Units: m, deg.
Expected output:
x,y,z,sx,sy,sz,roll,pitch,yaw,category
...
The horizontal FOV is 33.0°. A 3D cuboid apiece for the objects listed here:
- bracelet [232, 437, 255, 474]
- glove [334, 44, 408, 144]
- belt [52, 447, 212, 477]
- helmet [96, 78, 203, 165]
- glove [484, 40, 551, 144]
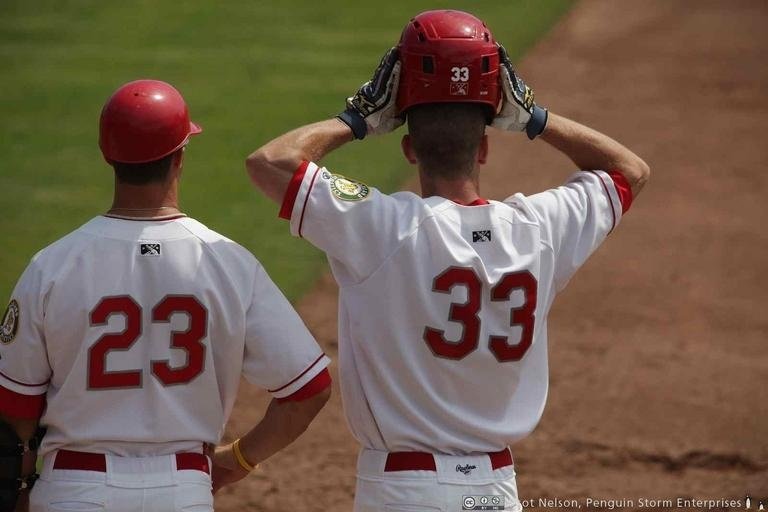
x,y,z,sx,sy,sz,roll,pitch,yaw,category
-1.006,1.407,9.219,0.076,0.222,0.189,-33,29,-7,bracelet
-0.099,-1.170,9.253,0.305,0.613,0.549,-5,21,-41,glove
-1.729,1.408,8.915,1.047,0.152,0.131,1,32,-3,belt
-1.601,-0.958,8.985,0.545,0.317,0.637,21,36,26,helmet
0.977,-1.181,9.353,0.308,0.619,0.494,-22,-1,33,glove
